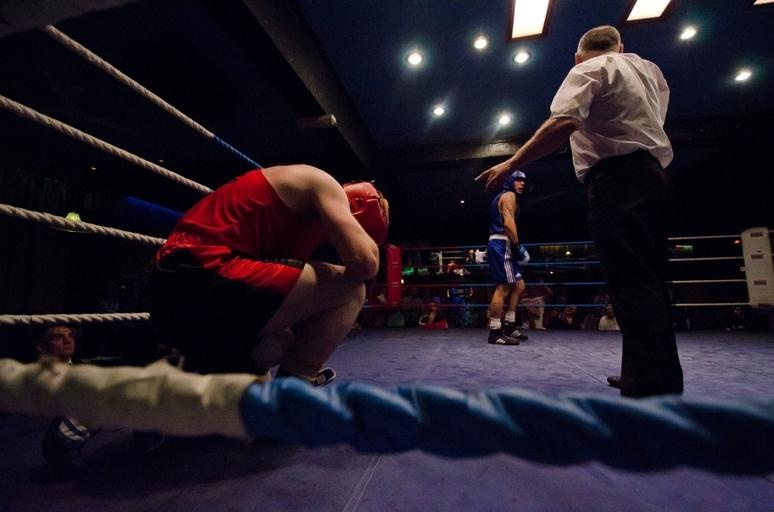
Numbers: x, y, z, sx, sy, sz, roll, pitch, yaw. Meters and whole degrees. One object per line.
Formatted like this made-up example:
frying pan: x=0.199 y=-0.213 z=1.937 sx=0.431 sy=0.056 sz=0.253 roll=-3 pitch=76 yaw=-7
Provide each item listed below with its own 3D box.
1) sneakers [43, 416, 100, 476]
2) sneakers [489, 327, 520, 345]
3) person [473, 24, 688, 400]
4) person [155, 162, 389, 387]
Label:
sneakers: x=-1.349 y=0.790 z=1.961 sx=0.158 sy=0.189 sz=0.149 roll=0 pitch=12 yaw=-2
sneakers: x=1.114 y=0.747 z=4.302 sx=0.353 sy=0.200 sz=0.125 roll=-2 pitch=-8 yaw=5
person: x=1.095 y=-0.214 z=2.430 sx=0.875 sy=1.721 sz=0.750 roll=0 pitch=13 yaw=1
person: x=-0.546 y=0.094 z=2.460 sx=1.121 sy=1.044 sz=0.999 roll=11 pitch=-9 yaw=-36
